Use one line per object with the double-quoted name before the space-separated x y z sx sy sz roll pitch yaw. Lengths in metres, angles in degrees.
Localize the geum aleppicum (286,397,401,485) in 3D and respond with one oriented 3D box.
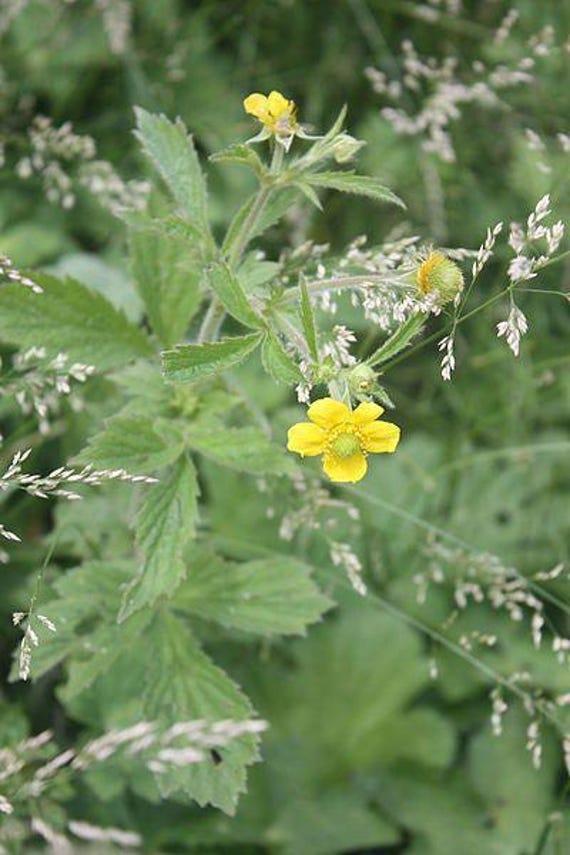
"geum aleppicum" 0.110 0.020 1.545 0.191 0.165 0.050 8 38 -16
